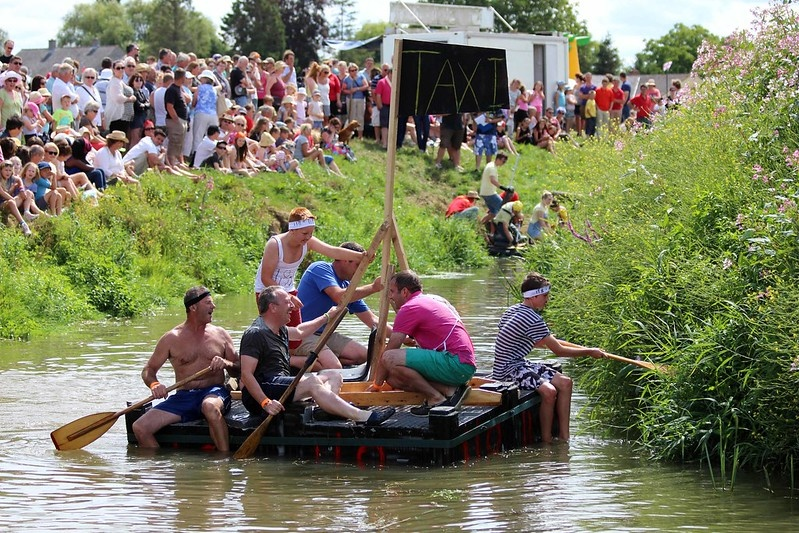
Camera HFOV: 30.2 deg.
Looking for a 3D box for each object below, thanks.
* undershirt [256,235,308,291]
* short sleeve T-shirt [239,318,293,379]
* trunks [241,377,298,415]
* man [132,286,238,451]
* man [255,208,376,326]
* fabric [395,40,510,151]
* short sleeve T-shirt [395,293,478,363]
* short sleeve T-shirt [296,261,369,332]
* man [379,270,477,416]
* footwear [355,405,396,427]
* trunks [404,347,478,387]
[{"bbox_3d":[-1.722,-0.041,22.298,0.457,0.977,0.675,7,-22,-41],"label":"undershirt"},{"bbox_3d":[-1.830,1.212,21.042,0.498,0.969,0.929,-1,3,27],"label":"short sleeve T-shirt"},{"bbox_3d":[-1.884,1.839,20.781,0.808,0.576,0.275,3,4,21],"label":"trunks"},{"bbox_3d":[-2.993,1.429,20.913,1.368,2.285,0.839,1,3,-8],"label":"man"},{"bbox_3d":[-1.515,0.032,24.658,1.736,2.833,1.124,15,26,15],"label":"man"},{"bbox_3d":[0.799,-2.723,21.823,1.829,1.106,0.046,-2,5,-29],"label":"fabric"},{"bbox_3d":[0.463,0.898,21.472,1.112,1.018,1.191,-10,2,-43],"label":"short sleeve T-shirt"},{"bbox_3d":[-1.017,0.448,22.708,1.025,1.203,0.881,1,0,5],"label":"short sleeve T-shirt"},{"bbox_3d":[0.264,1.099,21.531,1.395,2.165,1.311,-6,-6,41],"label":"man"},{"bbox_3d":[-0.322,2.126,20.568,0.413,0.124,0.210,-22,14,3],"label":"footwear"},{"bbox_3d":[0.550,1.458,21.387,1.109,0.451,0.669,16,14,-12],"label":"trunks"}]
